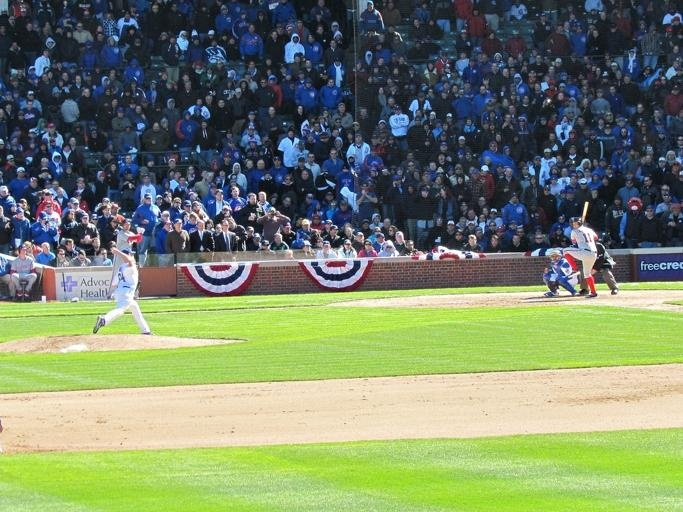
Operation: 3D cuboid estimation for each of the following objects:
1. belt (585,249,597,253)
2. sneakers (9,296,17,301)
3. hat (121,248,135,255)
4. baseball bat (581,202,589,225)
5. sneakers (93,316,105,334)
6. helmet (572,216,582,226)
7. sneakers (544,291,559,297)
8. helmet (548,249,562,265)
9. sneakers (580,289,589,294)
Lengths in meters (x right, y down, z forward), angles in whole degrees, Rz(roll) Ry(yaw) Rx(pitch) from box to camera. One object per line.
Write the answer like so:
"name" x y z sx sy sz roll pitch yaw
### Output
"belt" 7.500 -0.147 56.124 0.222 0.081 0.166 6 6 9
"sneakers" -10.418 1.360 59.930 0.141 0.142 0.156 1 -2 -7
"hat" -6.143 -0.120 54.384 0.489 0.146 0.311 2 2 19
"baseball bat" 7.889 -1.377 60.774 0.132 0.832 0.096 17 6 30
"sneakers" -6.576 1.882 51.210 0.198 0.467 0.156 7 31 -40
"helmet" 7.085 -1.012 56.355 0.204 0.279 0.288 6 0 4
"sneakers" 6.322 1.165 56.592 0.278 0.119 0.145 5 0 9
"helmet" 6.414 0.011 56.419 0.321 0.351 0.391 -3 -8 35
"sneakers" 7.338 1.089 56.589 0.222 0.153 0.126 4 -2 -3
